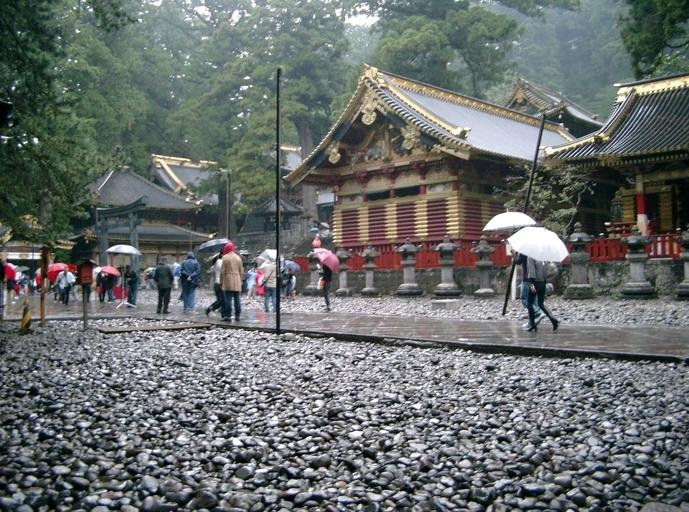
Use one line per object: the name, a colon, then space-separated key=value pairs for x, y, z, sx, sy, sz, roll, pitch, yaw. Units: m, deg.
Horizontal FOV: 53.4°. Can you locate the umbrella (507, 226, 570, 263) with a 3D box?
umbrella: x=3.193 y=-0.211 z=11.347 sx=0.682 sy=0.266 sz=0.687 roll=34 pitch=29 yaw=27

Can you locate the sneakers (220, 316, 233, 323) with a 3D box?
sneakers: x=-2.517 y=1.350 z=14.627 sx=0.250 sy=0.108 sz=0.101 roll=2 pitch=-4 yaw=33

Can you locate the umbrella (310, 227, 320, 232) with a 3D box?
umbrella: x=-1.251 y=-1.093 z=27.743 sx=0.270 sy=0.149 sz=0.272 roll=-1 pitch=0 yaw=29

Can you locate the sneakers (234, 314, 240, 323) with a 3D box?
sneakers: x=-2.299 y=1.311 z=14.689 sx=0.092 sy=0.145 sz=0.149 roll=1 pitch=-13 yaw=-9
